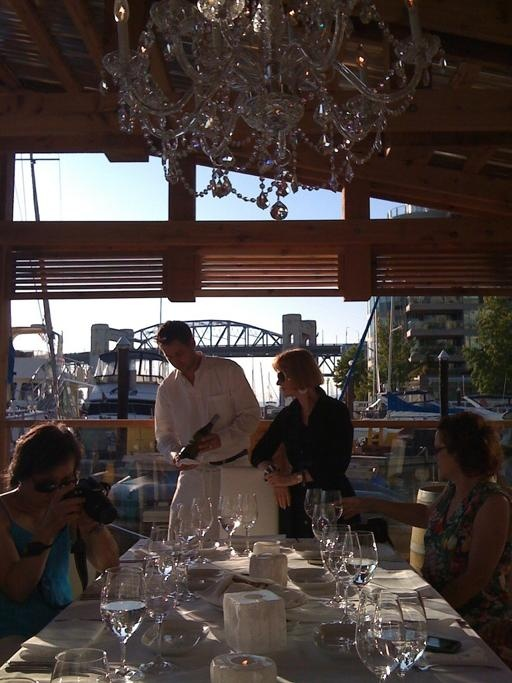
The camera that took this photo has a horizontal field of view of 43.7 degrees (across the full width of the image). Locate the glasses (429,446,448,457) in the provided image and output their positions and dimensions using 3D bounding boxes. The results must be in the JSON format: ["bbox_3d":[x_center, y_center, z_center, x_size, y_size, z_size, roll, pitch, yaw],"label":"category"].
[{"bbox_3d":[0.585,0.354,2.059,0.055,0.016,0.053,2,-2,2],"label":"glasses"}]

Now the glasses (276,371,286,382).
[{"bbox_3d":[0.115,0.172,3.115,0.015,0.042,0.033,-8,7,-38],"label":"glasses"}]

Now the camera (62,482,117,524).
[{"bbox_3d":[-0.454,0.465,1.807,0.129,0.131,0.081,14,40,28],"label":"camera"}]

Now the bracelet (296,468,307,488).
[{"bbox_3d":[0.201,0.621,2.903,0.052,0.070,0.021,-2,-3,34],"label":"bracelet"}]

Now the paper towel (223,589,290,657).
[{"bbox_3d":[-0.006,0.505,1.159,0.111,0.085,0.109,0,-9,0],"label":"paper towel"}]

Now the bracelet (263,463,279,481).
[{"bbox_3d":[0.060,0.602,2.959,0.050,0.065,0.023,-10,-28,31],"label":"bracelet"}]

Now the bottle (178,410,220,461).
[{"bbox_3d":[-0.290,0.488,3.154,0.189,0.241,0.235,1,-1,-4],"label":"bottle"}]

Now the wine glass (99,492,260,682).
[{"bbox_3d":[-0.128,0.456,1.133,0.199,0.265,0.178,-3,-12,20],"label":"wine glass"}]
